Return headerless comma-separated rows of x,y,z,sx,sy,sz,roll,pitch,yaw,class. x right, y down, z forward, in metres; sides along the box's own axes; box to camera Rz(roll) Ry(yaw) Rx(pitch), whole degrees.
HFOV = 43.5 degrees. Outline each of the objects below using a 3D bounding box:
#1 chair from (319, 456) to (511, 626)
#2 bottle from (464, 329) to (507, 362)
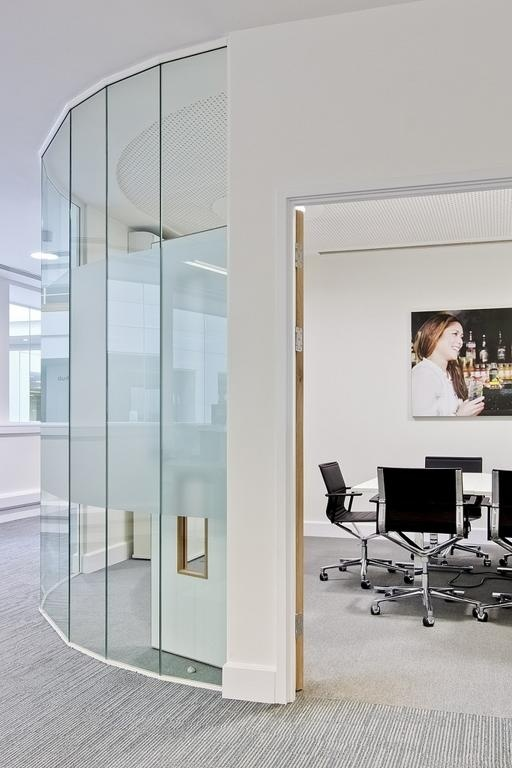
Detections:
0.998,0.977,4.377,0.901,0.824,1.206,1,0,18,chair
2.221,-0.365,6.170,0.302,0.280,0.112,-1,-4,20,bottle
